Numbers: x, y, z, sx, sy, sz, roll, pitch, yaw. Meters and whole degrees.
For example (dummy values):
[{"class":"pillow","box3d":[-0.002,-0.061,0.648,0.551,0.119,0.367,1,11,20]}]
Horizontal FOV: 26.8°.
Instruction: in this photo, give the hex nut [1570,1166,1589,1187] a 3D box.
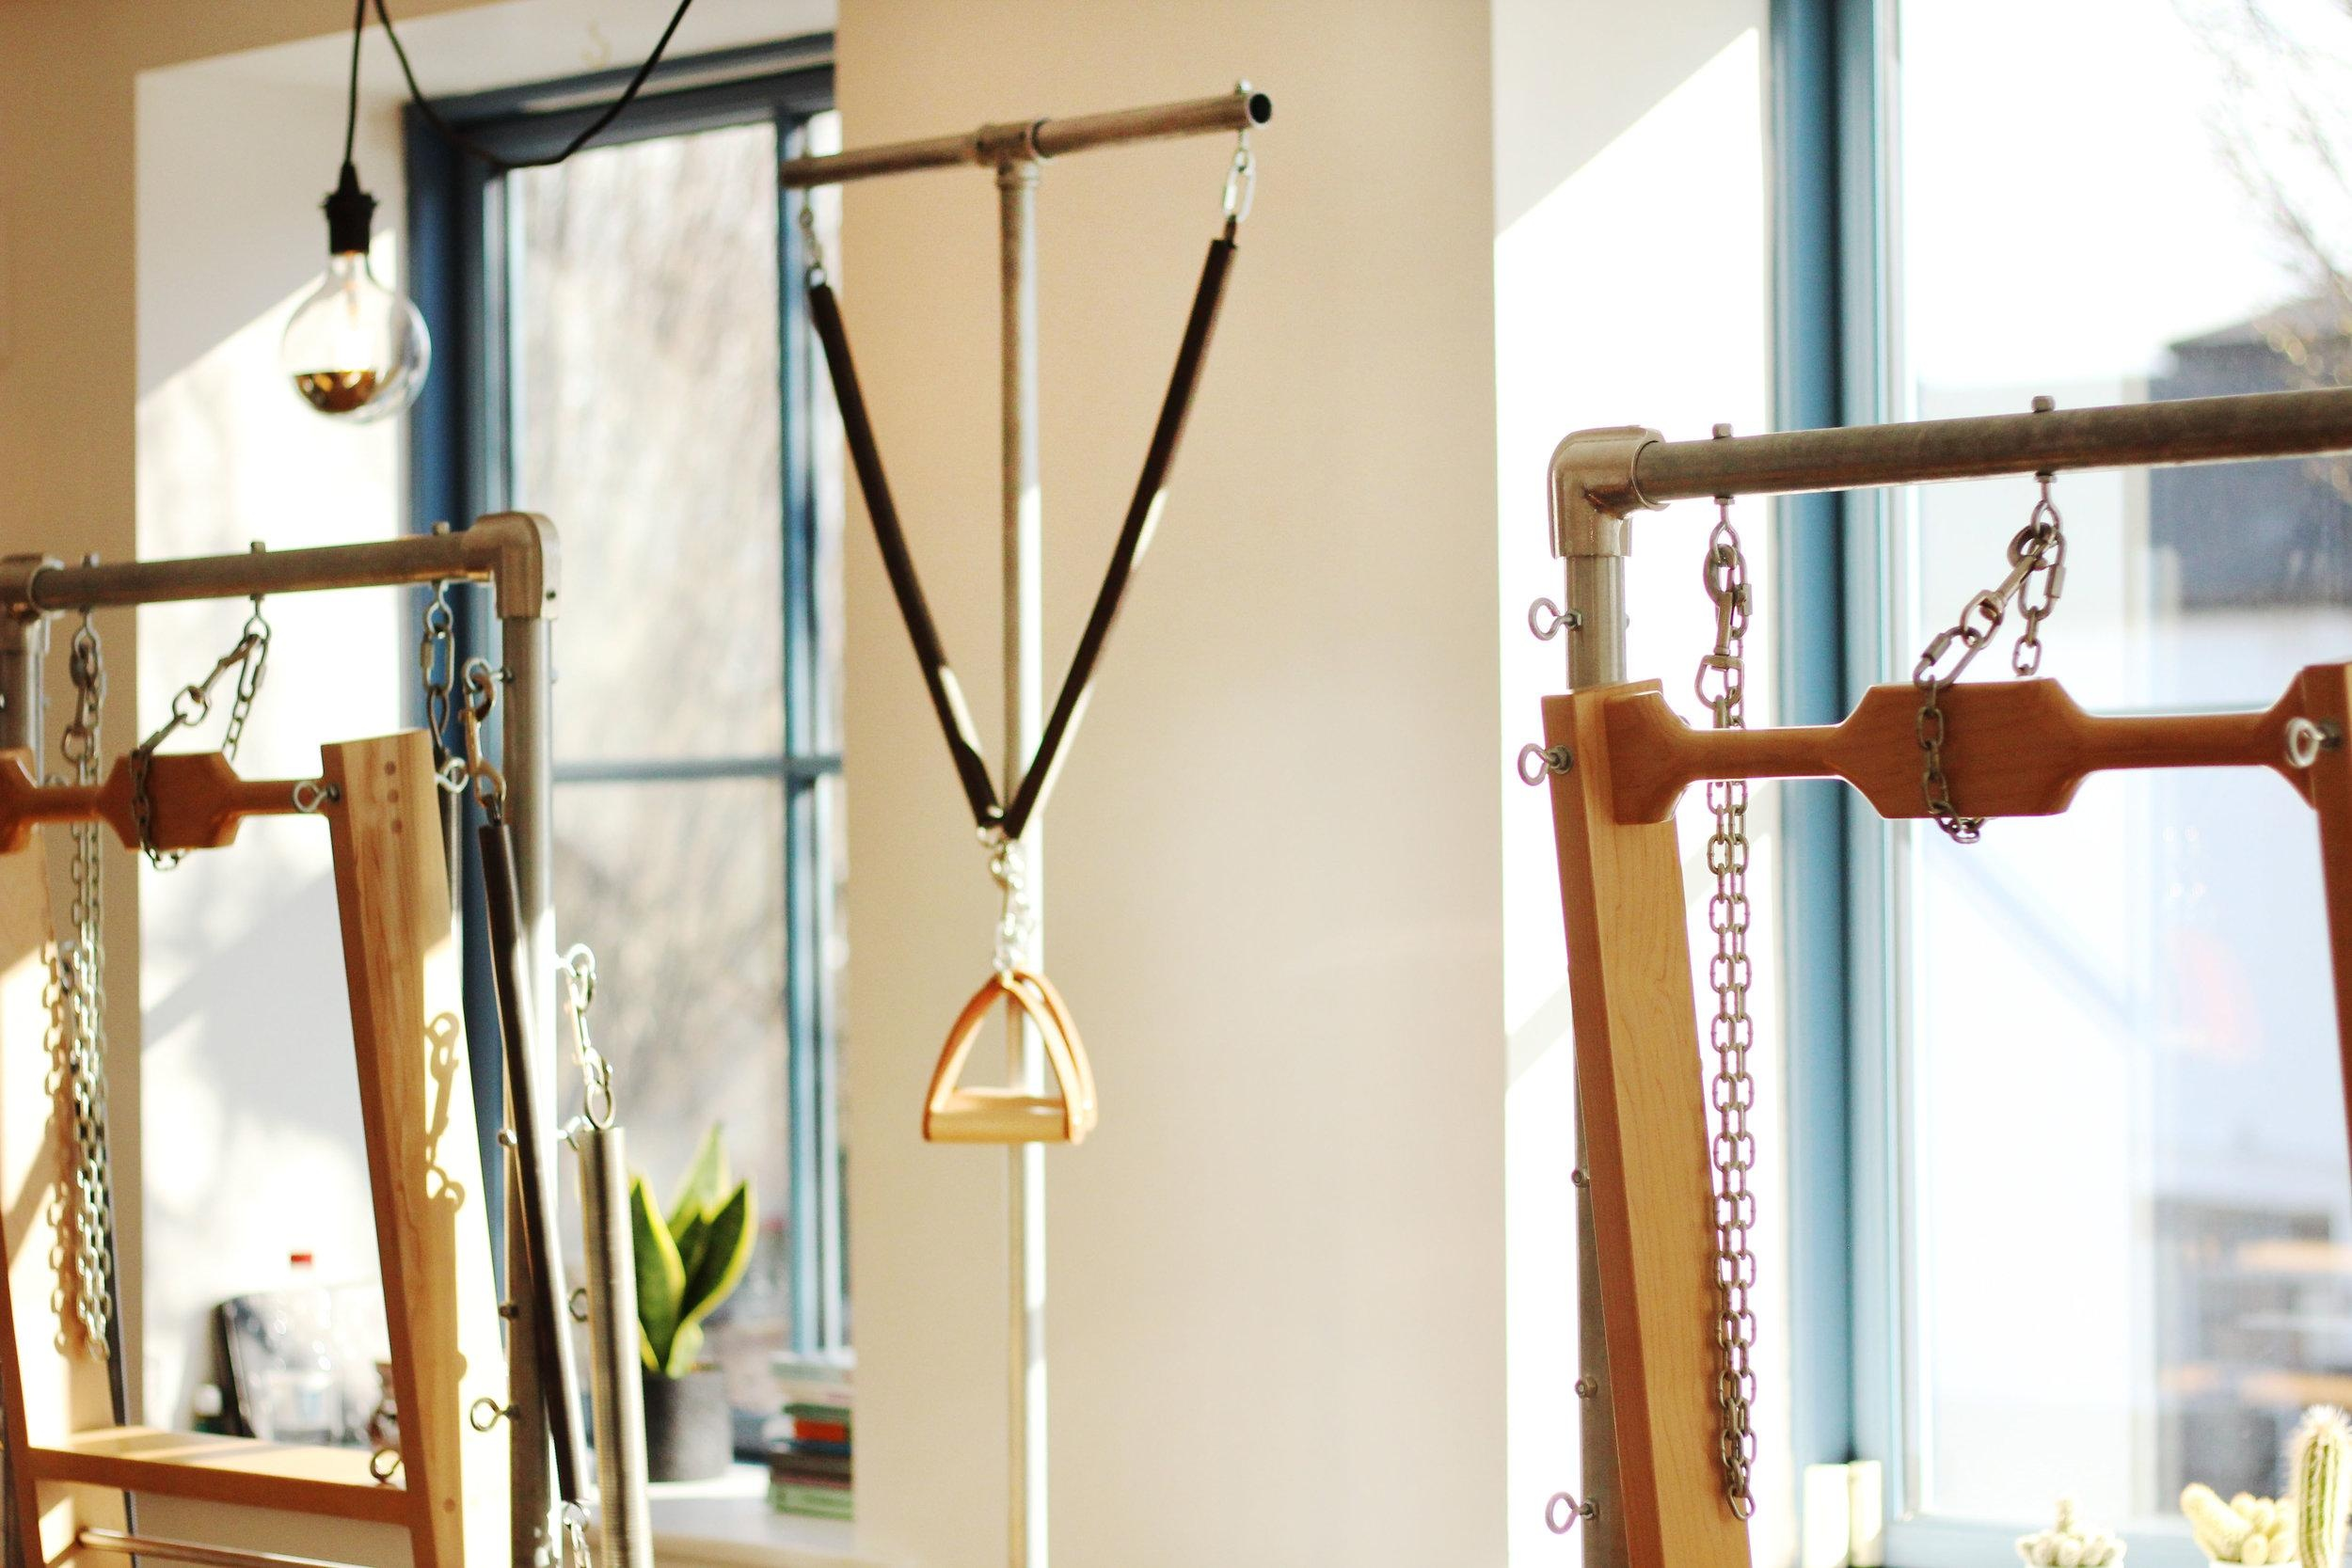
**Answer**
[{"class":"hex nut","box3d":[0.507,0.495,6.170,0.009,0.029,0.019,-2,5,-23]}]

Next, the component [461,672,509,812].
[{"class":"component","box3d":[-0.908,-0.059,6.384,0.073,0.208,0.030,-4,4,-37]}]

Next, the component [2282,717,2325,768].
[{"class":"component","box3d":[1.342,-0.052,5.851,0.052,0.082,0.020,0,1,-3]}]

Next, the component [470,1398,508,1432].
[{"class":"component","box3d":[-0.888,0.819,6.386,0.055,0.044,0.023,4,-13,-16]}]

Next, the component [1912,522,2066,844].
[{"class":"component","box3d":[1.005,-0.136,6.088,0.183,0.440,0.377,-2,-13,9]}]

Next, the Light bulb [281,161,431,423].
[{"class":"Light bulb","box3d":[-1.114,-0.659,6.626,0.183,0.283,0.285,-1,-13,5]}]

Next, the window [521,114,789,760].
[{"class":"window","box3d":[-0.804,-0.492,7.509,0.480,1.232,0.048,-5,-27,2]}]

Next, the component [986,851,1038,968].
[{"class":"component","box3d":[-0.220,0.175,6.431,0.059,0.245,0.060,13,-38,-21]}]

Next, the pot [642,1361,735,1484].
[{"class":"pot","box3d":[-0.718,0.952,7.332,0.145,0.159,0.151,-3,3,0]}]

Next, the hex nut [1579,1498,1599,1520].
[{"class":"hex nut","box3d":[0.518,0.917,6.170,0.008,0.027,0.024,1,4,-38]}]

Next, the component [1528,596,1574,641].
[{"class":"component","box3d":[0.472,-0.211,6.197,0.069,0.060,0.025,-2,4,-39]}]

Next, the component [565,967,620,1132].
[{"class":"component","box3d":[-0.770,0.330,6.442,0.065,0.292,0.238,2,-13,-7]}]

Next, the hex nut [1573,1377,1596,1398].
[{"class":"hex nut","box3d":[0.511,0.759,6.184,0.021,0.026,0.046,5,-15,-21]}]

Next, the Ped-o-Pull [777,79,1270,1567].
[{"class":"Ped-o-Pull","box3d":[-0.130,0.060,6.446,0.621,1.852,0.631,-6,-14,28]}]

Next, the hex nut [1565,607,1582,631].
[{"class":"hex nut","box3d":[0.498,-0.208,6.153,0.025,0.020,0.008,2,1,42]}]

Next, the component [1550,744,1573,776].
[{"class":"component","box3d":[0.473,-0.031,6.055,0.034,0.034,0.010,-1,-12,5]}]

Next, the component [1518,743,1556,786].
[{"class":"component","box3d":[0.447,-0.028,6.108,0.055,0.062,0.022,-7,-15,-1]}]
